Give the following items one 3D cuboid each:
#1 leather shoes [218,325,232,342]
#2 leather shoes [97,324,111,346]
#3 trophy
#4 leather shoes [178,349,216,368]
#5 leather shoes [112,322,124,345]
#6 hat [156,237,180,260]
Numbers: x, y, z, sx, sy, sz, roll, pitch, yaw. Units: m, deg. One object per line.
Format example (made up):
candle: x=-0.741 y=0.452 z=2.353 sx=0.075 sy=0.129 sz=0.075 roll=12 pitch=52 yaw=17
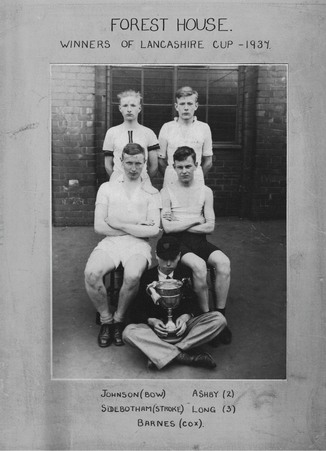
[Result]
leather shoes: x=0.454 y=0.758 z=4.413 sx=0.059 sy=0.059 sz=0.142 roll=-1 pitch=17 yaw=3
leather shoes: x=-0.410 y=0.766 z=4.405 sx=0.088 sy=0.137 sz=0.145 roll=2 pitch=3 yaw=12
trophy: x=0.021 y=0.575 z=4.270 sx=0.275 sy=0.408 sz=0.168 roll=2 pitch=3 yaw=5
leather shoes: x=0.223 y=0.860 z=4.158 sx=0.287 sy=0.091 sz=0.120 roll=1 pitch=4 yaw=13
leather shoes: x=-0.319 y=0.759 z=4.436 sx=0.056 sy=0.065 sz=0.157 roll=-4 pitch=31 yaw=-10
hat: x=0.041 y=0.159 z=4.395 sx=0.136 sy=0.088 sz=0.175 roll=2 pitch=35 yaw=4
